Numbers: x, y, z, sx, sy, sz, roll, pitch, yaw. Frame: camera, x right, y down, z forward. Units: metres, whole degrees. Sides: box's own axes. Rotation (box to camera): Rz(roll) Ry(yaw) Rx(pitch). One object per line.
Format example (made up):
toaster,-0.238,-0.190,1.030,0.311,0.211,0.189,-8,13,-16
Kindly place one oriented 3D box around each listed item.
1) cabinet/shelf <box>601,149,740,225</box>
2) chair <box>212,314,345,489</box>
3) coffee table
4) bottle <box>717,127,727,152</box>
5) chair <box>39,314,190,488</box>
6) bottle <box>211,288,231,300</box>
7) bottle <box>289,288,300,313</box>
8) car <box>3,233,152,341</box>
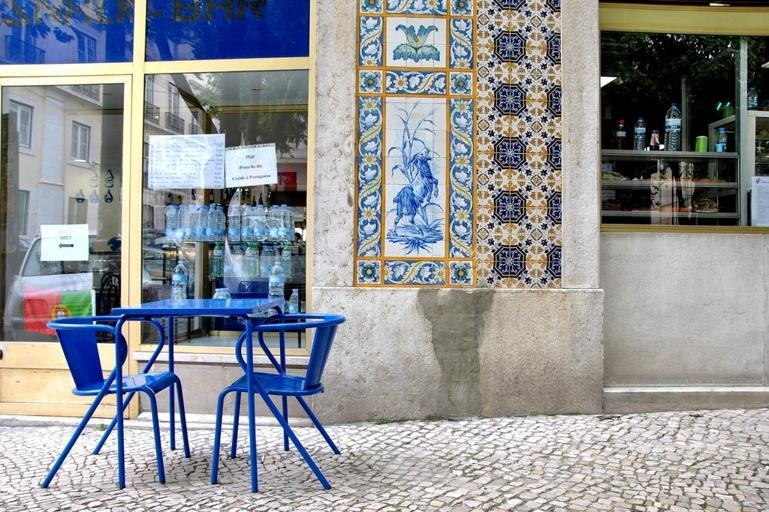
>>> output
cabinet/shelf,3.124,-0.751,8.874,1.861,0.889,0.633,0,-1,-18
chair,-1.080,1.277,7.492,1.496,1.750,1.573,1,-2,1
coffee table,-1.533,1.368,7.198,1.596,1.768,2.001,0,2,4
bottle,3.838,-1.332,8.727,0.141,0.287,0.038,-1,1,-4
chair,-2.484,1.319,7.554,1.541,1.836,1.568,0,0,3
bottle,-1.770,0.412,8.334,0.164,0.129,0.157,1,-7,0
bottle,-0.965,0.463,8.164,0.117,0.240,0.024,0,1,17
car,-3.574,0.318,8.420,1.016,0.749,1.630,-3,8,-7
